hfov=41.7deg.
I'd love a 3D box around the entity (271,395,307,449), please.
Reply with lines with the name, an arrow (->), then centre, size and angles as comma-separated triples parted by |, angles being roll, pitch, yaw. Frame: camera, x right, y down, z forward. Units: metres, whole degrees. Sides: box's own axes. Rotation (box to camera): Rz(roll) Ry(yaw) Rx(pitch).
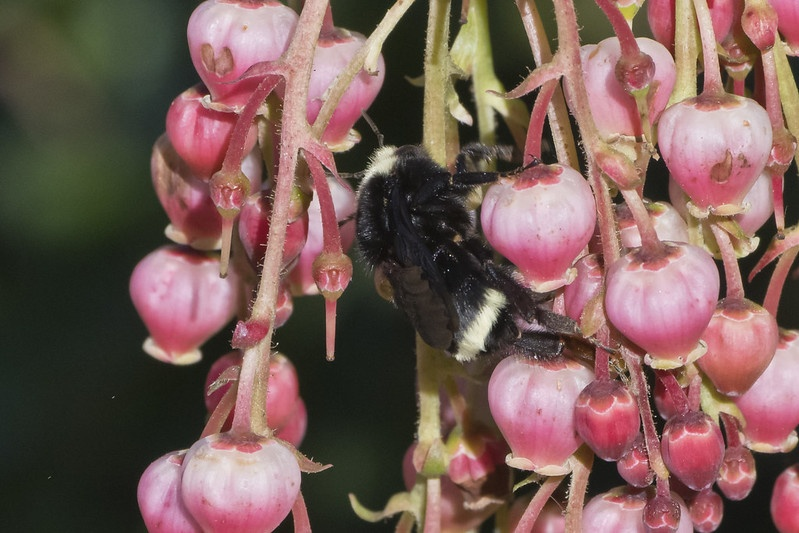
entity -> -0.127, 0.183, 1.273 | 0.047, 0.052, 0.066 | 10, 67, -13

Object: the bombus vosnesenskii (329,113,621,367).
bombus vosnesenskii -> 0.045, -0.003, 1.068 | 0.177, 0.078, 0.258 | -39, 61, 8
